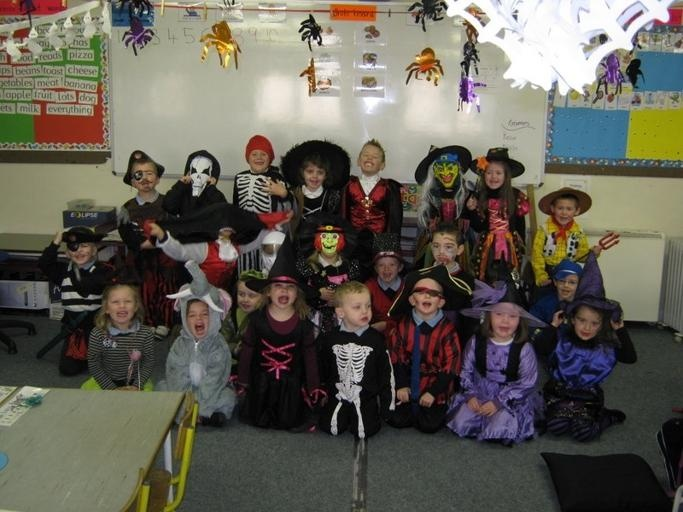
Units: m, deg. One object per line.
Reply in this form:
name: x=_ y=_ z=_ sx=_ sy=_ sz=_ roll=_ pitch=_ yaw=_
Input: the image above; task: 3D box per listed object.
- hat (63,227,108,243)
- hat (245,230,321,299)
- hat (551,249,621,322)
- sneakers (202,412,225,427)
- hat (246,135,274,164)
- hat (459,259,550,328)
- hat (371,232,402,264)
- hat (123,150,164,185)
hat: x=-1.793 y=-0.137 z=3.983 sx=0.149 sy=0.125 sz=0.287 roll=10 pitch=15 yaw=40
hat: x=-0.371 y=0.071 z=3.367 sx=0.408 sy=0.342 sz=0.263 roll=10 pitch=15 yaw=42
hat: x=1.465 y=0.191 z=3.483 sx=0.362 sy=0.414 sz=0.384 roll=-1 pitch=-10 yaw=17
sneakers: x=-0.722 y=0.950 z=3.217 sx=0.142 sy=0.100 sz=0.081 roll=0 pitch=-5 yaw=2
hat: x=-0.637 y=-0.867 z=4.552 sx=0.184 sy=0.199 sz=0.246 roll=-3 pitch=-7 yaw=4
hat: x=1.000 y=0.201 z=3.284 sx=0.408 sy=0.292 sz=0.318 roll=-11 pitch=-8 yaw=-30
hat: x=0.317 y=-0.062 z=3.961 sx=0.185 sy=0.198 sz=0.200 roll=-2 pitch=0 yaw=-1
hat: x=-1.597 y=-0.741 z=4.489 sx=0.263 sy=0.143 sz=0.350 roll=-13 pitch=-20 yaw=-19
